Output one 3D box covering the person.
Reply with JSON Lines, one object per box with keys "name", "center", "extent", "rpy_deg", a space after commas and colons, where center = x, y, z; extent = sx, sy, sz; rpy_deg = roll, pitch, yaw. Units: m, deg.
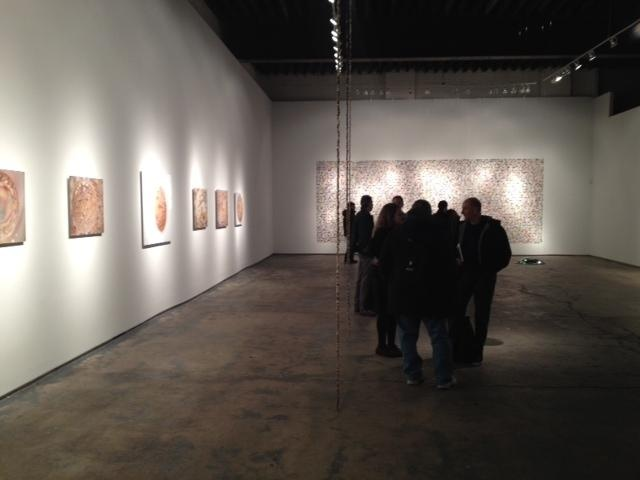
{"name": "person", "center": [1.050, 0.502, 4.876], "extent": [1.293, 1.806, 0.992], "rpy_deg": [2, 7, 5]}
